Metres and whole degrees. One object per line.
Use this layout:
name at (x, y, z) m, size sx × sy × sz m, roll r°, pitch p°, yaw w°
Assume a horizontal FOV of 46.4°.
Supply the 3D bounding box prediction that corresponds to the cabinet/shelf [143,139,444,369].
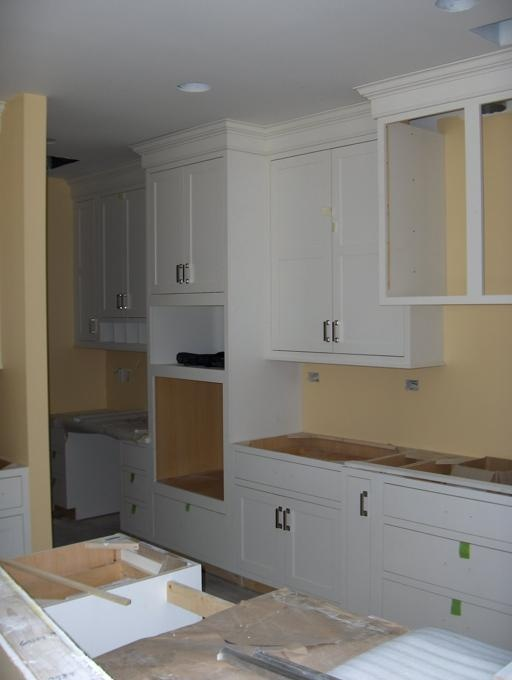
cabinet/shelf at (0.228, -0.486, 3.167) m, size 0.506 × 1.021 × 1.423 m, roll 0°, pitch 1°, yaw -45°
